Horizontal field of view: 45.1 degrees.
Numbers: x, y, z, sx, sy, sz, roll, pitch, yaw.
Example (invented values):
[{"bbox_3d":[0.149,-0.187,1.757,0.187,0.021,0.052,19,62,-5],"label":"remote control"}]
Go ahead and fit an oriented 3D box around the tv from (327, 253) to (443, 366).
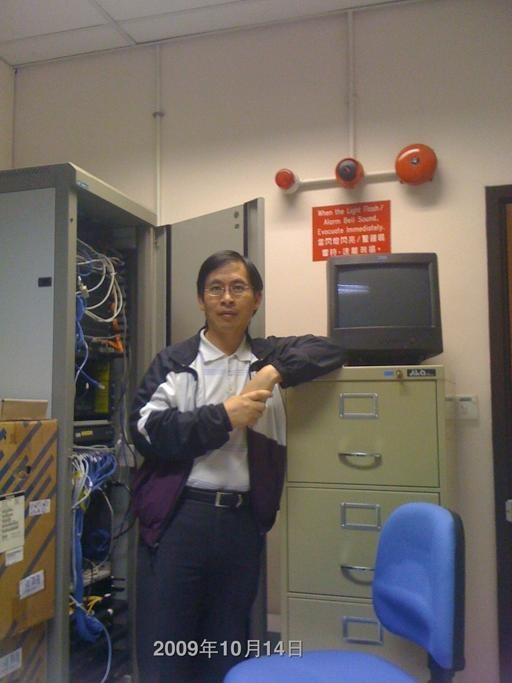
[{"bbox_3d":[0.424,-0.019,2.058,0.357,0.398,0.379,-3,-34,14],"label":"tv"}]
